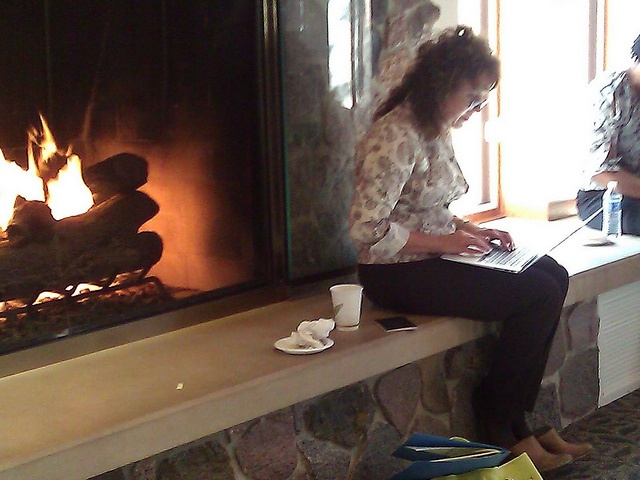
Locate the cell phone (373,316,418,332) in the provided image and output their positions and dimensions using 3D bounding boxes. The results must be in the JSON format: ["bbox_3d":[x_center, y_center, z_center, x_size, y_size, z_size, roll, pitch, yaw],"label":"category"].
[{"bbox_3d":[0.258,0.286,1.924,0.119,0.015,0.121,-10,19,-25],"label":"cell phone"}]

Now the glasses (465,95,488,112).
[{"bbox_3d":[0.557,-0.482,1.996,0.033,0.045,0.115,39,-1,11],"label":"glasses"}]

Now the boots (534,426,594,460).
[{"bbox_3d":[0.876,0.747,2.085,0.086,0.122,0.276,9,-28,-20],"label":"boots"}]

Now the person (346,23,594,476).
[{"bbox_3d":[0.516,0.043,1.964,0.748,1.489,0.469,6,18,26],"label":"person"}]

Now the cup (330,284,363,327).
[{"bbox_3d":[0.094,0.215,1.914,0.097,0.160,0.152,0,17,6],"label":"cup"}]
